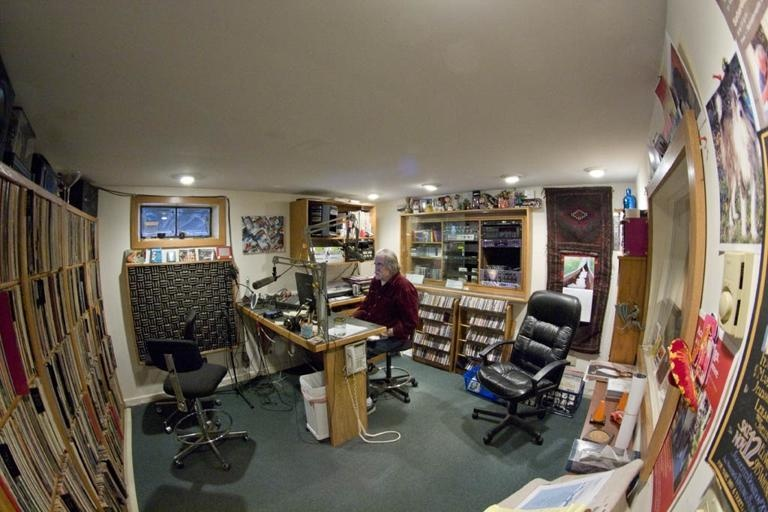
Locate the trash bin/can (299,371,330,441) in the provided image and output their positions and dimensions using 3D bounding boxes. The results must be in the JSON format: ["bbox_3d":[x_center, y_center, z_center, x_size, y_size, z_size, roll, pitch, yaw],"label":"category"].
[{"bbox_3d":[-0.589,1.277,4.015,0.189,0.509,0.366,-4,12,-14],"label":"trash bin/can"}]

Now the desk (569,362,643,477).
[{"bbox_3d":[1.387,1.019,2.928,0.251,0.211,0.882,7,4,20],"label":"desk"}]

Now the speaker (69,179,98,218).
[{"bbox_3d":[-2.537,-0.478,3.940,0.175,0.307,0.346,2,-4,-12],"label":"speaker"}]

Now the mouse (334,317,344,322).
[{"bbox_3d":[-0.400,0.573,4.230,0.042,0.042,0.043,0,-4,10],"label":"mouse"}]

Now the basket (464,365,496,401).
[{"bbox_3d":[0.935,1.265,4.709,0.261,0.168,0.391,-3,8,-24],"label":"basket"}]

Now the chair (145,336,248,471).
[{"bbox_3d":[-1.576,1.138,4.000,0.708,1.084,0.688,-6,11,1],"label":"chair"}]

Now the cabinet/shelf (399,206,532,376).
[{"bbox_3d":[0.956,0.423,5.266,0.583,2.121,1.866,2,-1,-45],"label":"cabinet/shelf"}]

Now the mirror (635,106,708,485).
[{"bbox_3d":[1.472,0.187,2.405,0.185,1.547,1.731,3,7,31],"label":"mirror"}]

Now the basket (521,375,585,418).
[{"bbox_3d":[1.615,1.296,4.518,0.601,0.289,0.626,0,11,6],"label":"basket"}]

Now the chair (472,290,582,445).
[{"bbox_3d":[1.204,0.963,4.093,0.863,1.197,0.710,-6,14,-24],"label":"chair"}]

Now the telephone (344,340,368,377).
[{"bbox_3d":[-0.233,0.872,3.985,0.081,0.271,0.267,-2,1,25],"label":"telephone"}]

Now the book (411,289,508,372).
[{"bbox_3d":[0.883,0.839,5.279,0.917,0.711,0.213,3,-6,45],"label":"book"}]

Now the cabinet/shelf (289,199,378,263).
[{"bbox_3d":[-0.574,-0.261,5.625,0.306,0.757,1.068,-4,-1,43],"label":"cabinet/shelf"}]
